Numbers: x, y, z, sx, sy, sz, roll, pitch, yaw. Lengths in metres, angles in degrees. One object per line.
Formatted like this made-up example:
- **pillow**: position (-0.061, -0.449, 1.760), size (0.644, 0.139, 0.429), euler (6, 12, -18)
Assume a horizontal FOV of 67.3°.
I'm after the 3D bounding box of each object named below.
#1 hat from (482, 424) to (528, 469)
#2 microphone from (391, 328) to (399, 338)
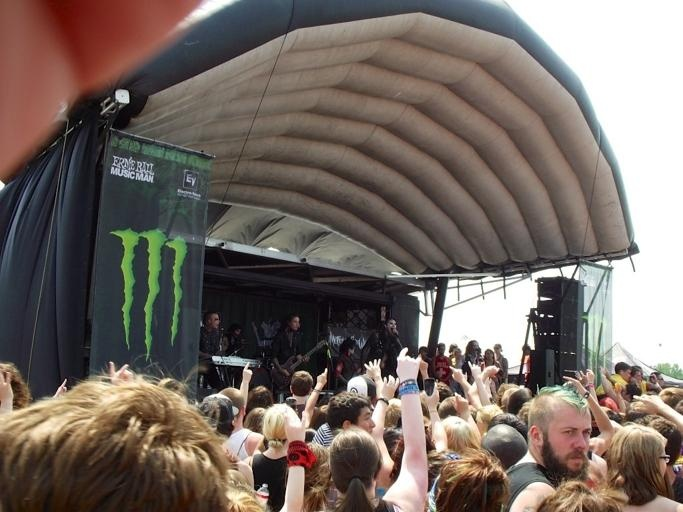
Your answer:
- **hat**: position (0.992, 1.171, 3.040), size (0.244, 0.285, 0.200), euler (-3, -8, 41)
- **microphone**: position (1.397, 1.951, 12.953), size (0.188, 0.273, 0.283), euler (7, 11, -7)
